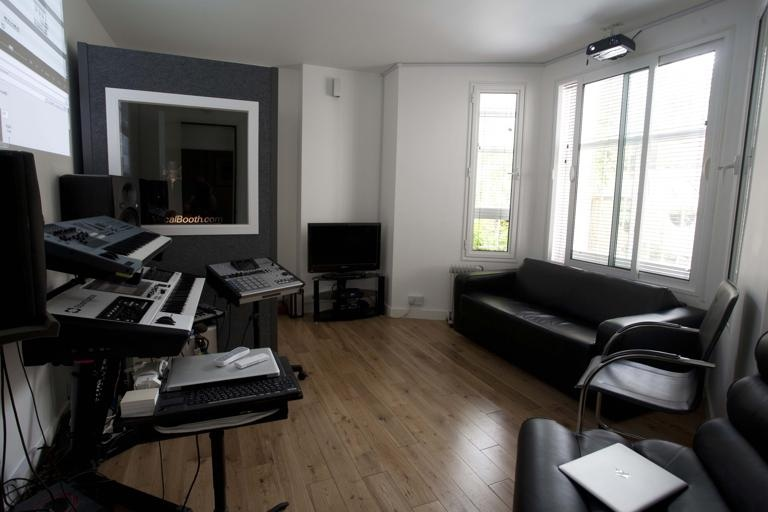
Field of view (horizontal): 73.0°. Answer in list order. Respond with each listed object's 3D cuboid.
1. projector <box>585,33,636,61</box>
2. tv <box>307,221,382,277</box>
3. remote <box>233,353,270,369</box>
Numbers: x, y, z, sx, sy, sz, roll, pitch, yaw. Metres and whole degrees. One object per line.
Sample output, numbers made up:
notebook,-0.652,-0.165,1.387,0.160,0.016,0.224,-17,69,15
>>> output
projector,1.983,-1.802,4.529,0.251,0.150,0.306,-4,11,-32
tv,-0.471,-0.071,5.959,0.639,0.447,0.164,0,9,-10
remote,-0.754,0.603,2.959,0.133,0.031,0.080,-13,19,-40
